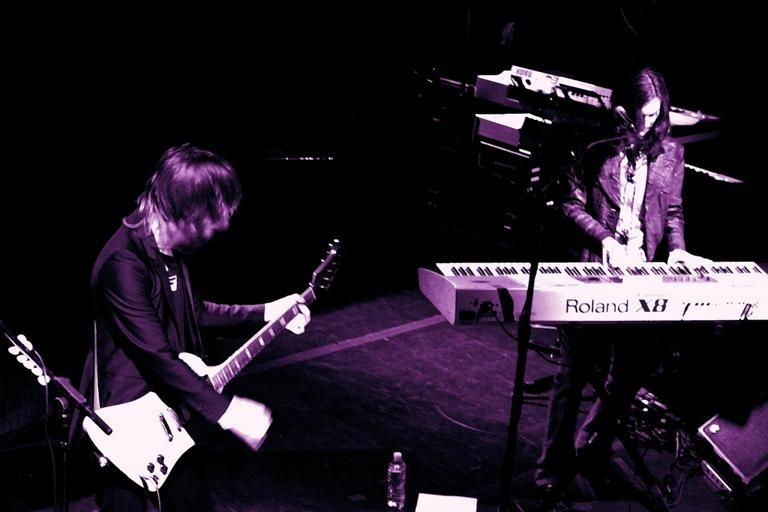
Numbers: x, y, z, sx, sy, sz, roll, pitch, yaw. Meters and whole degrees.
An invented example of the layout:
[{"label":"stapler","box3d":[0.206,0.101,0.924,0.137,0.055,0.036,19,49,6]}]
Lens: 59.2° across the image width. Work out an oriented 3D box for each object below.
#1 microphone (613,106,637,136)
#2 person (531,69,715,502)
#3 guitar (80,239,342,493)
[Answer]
[{"label":"microphone","box3d":[1.666,-0.930,4.658,0.058,0.248,0.141,-27,12,41]},{"label":"person","box3d":[1.558,0.171,4.549,0.845,2.744,1.530,9,20,23]},{"label":"guitar","box3d":[-0.964,0.595,4.225,0.530,1.086,1.818,18,24,41]}]
